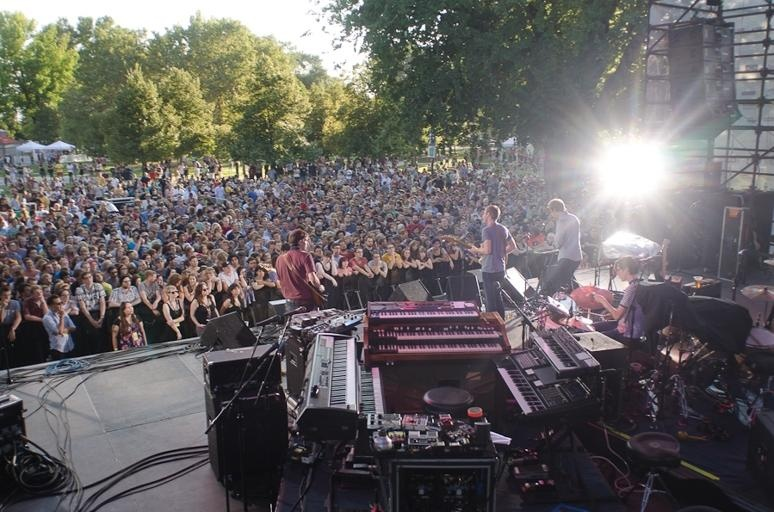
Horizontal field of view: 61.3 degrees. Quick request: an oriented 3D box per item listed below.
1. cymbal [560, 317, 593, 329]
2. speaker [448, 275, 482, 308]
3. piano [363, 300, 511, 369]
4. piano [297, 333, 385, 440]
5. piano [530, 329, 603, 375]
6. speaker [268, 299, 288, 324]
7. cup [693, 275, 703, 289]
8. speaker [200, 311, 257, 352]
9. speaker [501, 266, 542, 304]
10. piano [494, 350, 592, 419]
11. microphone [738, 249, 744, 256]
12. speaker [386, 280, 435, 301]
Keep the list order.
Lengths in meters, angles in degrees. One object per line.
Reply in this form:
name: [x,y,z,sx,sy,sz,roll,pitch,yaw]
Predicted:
cymbal: [4.199,1.495,14.436,0.629,0.352,0.253,13,4,29]
speaker: [2.120,0.916,17.900,1.006,1.175,0.754,-5,3,-7]
piano: [0.809,1.501,11.830,2.447,1.139,0.642,0,10,-4]
piano: [-0.777,2.228,11.191,1.422,0.816,2.002,-2,35,-1]
piano: [3.353,1.821,12.242,0.750,0.239,1.117,-5,26,-11]
speaker: [-2.425,1.262,14.575,0.618,0.601,0.451,-1,-6,-29]
cup: [7.815,0.680,16.409,0.180,0.240,0.183,-3,9,1]
speaker: [-3.429,1.657,13.993,1.238,0.834,0.693,-2,4,41]
speaker: [3.458,0.777,16.865,0.444,0.754,0.829,-45,-28,21]
piano: [2.796,2.353,11.942,0.942,0.823,2.236,-8,-20,13]
microphone: [10.173,-0.078,18.649,0.257,0.123,0.165,-9,9,-31]
speaker: [0.595,0.949,16.725,0.976,0.501,1.356,-4,3,13]
